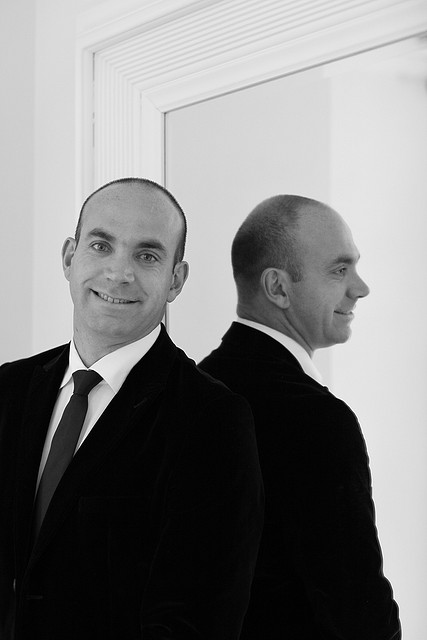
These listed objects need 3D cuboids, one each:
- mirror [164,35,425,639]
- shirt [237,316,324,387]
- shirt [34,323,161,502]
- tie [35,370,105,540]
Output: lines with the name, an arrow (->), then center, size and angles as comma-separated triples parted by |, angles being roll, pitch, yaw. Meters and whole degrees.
mirror -> 0.170, 0.016, 1.692 | 0.693, 1.244, 0.283 | -12, -22, 44
shirt -> 0.135, 0.066, 1.645 | 0.136, 0.116, 0.105 | 25, -21, -18
shirt -> -0.217, 0.164, 1.522 | 0.204, 0.360, 0.146 | 3, -16, 2
tie -> -0.269, 0.250, 1.488 | 0.099, 0.299, 0.028 | 25, -23, -15
